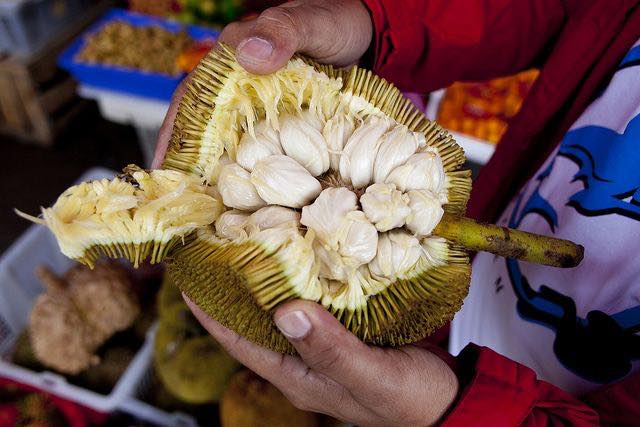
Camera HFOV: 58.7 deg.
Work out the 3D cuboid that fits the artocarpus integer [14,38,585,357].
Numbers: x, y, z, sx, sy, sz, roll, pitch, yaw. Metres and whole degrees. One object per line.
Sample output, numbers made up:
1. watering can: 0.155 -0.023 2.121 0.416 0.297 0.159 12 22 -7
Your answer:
1. artocarpus integer: -0.033 0.013 1.847 1.389 0.642 0.926 25 53 12
